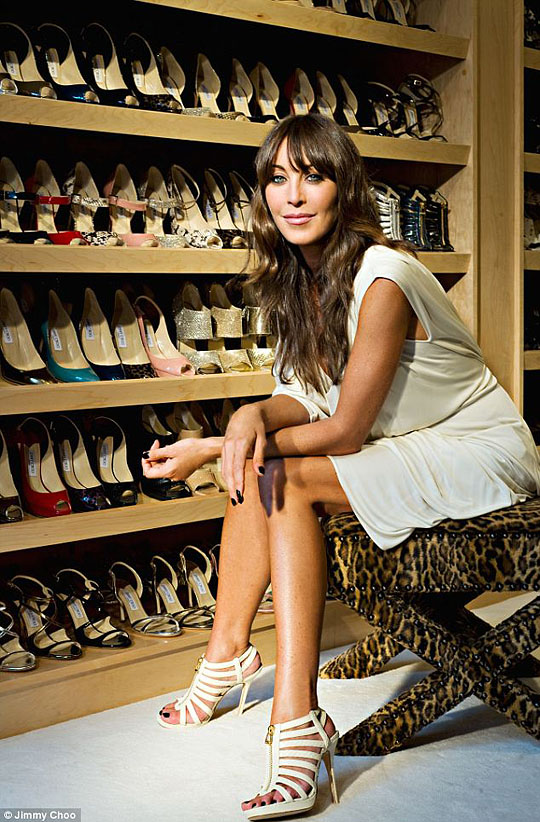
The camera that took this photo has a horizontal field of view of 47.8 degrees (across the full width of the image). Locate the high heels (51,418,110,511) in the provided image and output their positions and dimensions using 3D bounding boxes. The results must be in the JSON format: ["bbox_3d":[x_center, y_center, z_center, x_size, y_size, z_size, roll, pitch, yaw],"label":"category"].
[{"bbox_3d":[-0.545,0.161,1.735,0.082,0.117,0.293,-9,37,-28],"label":"high heels"}]

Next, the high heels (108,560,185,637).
[{"bbox_3d":[-0.347,0.535,1.732,0.110,0.129,0.322,-7,14,-30],"label":"high heels"}]

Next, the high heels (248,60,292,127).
[{"bbox_3d":[-0.024,-1.050,2.021,0.109,0.321,0.116,-10,-20,-7],"label":"high heels"}]

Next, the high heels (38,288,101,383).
[{"bbox_3d":[-0.575,-0.209,1.780,0.120,0.166,0.362,-11,48,-32],"label":"high heels"}]

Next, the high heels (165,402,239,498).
[{"bbox_3d":[-0.210,0.096,1.956,0.137,0.175,0.440,-24,25,-14],"label":"high heels"}]

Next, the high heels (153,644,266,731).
[{"bbox_3d":[-0.119,0.574,1.350,0.296,0.209,0.127,-1,11,-3],"label":"high heels"}]

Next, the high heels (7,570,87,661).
[{"bbox_3d":[-0.585,0.496,1.605,0.115,0.141,0.360,-4,13,-31],"label":"high heels"}]

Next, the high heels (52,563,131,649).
[{"bbox_3d":[-0.490,0.538,1.633,0.112,0.072,0.360,-2,20,-27],"label":"high heels"}]

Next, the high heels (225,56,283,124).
[{"bbox_3d":[-0.071,-1.084,2.064,0.127,0.161,0.409,-4,24,-14],"label":"high heels"}]

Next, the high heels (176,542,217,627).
[{"bbox_3d":[-0.215,0.521,1.822,0.092,0.062,0.245,-1,35,-17],"label":"high heels"}]

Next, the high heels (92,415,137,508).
[{"bbox_3d":[-0.469,0.146,1.812,0.114,0.140,0.361,-10,54,-17],"label":"high heels"}]

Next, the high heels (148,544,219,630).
[{"bbox_3d":[-0.249,0.512,1.786,0.107,0.067,0.292,4,15,-14],"label":"high heels"}]

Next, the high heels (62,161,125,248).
[{"bbox_3d":[-0.520,-0.583,1.745,0.132,0.178,0.422,-8,41,-23],"label":"high heels"}]

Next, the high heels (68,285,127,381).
[{"bbox_3d":[-0.498,-0.211,1.818,0.109,0.153,0.354,-15,60,-21],"label":"high heels"}]
